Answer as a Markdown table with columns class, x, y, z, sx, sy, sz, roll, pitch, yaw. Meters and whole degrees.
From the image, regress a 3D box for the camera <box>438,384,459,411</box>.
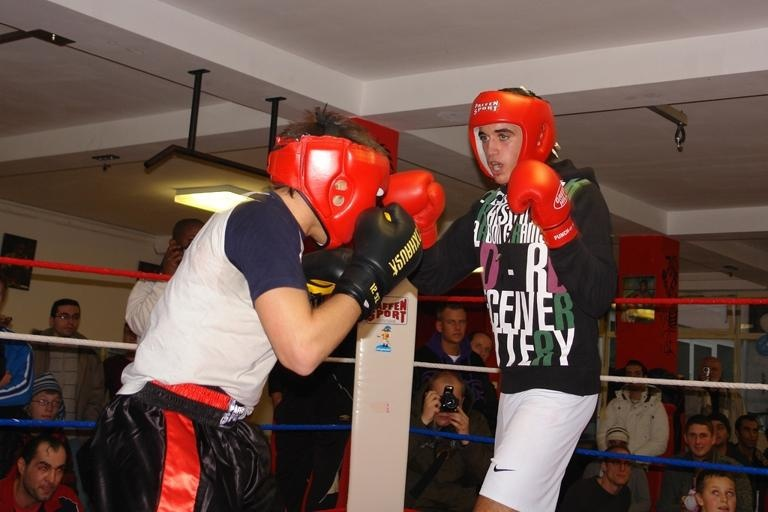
| class | x | y | z | sx | sy | sz | roll | pitch | yaw |
| --- | --- | --- | --- | --- | --- | --- | --- | --- | --- |
| camera | 0.366 | 0.843 | 3.572 | 0.138 | 0.129 | 0.129 | 8 | 17 | 2 |

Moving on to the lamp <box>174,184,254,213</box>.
| class | x | y | z | sx | sy | sz | roll | pitch | yaw |
| --- | --- | --- | --- | --- | --- | --- | --- | --- | --- |
| lamp | -1.695 | -0.597 | 6.054 | 0.743 | 0.162 | 0.691 | -2 | -4 | 35 |

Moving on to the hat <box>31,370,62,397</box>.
| class | x | y | z | sx | sy | sz | roll | pitch | yaw |
| --- | --- | --- | --- | --- | --- | --- | --- | --- | --- |
| hat | -2.471 | 0.937 | 4.464 | 0.205 | 0.166 | 0.279 | 10 | -14 | -27 |

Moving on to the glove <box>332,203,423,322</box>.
| class | x | y | z | sx | sy | sz | roll | pitch | yaw |
| --- | --- | --- | --- | --- | --- | --- | --- | --- | --- |
| glove | -0.015 | 0.011 | 2.065 | 0.153 | 0.411 | 0.315 | -4 | -12 | 43 |

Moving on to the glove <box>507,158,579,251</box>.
| class | x | y | z | sx | sy | sz | roll | pitch | yaw |
| --- | --- | --- | --- | --- | --- | --- | --- | --- | --- |
| glove | 0.587 | -0.168 | 2.252 | 0.157 | 0.252 | 0.327 | -4 | -52 | 45 |

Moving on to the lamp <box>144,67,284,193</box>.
| class | x | y | z | sx | sy | sz | roll | pitch | yaw |
| --- | --- | --- | --- | --- | --- | --- | --- | --- | --- |
| lamp | -1.178 | -0.989 | 4.725 | 0.974 | 0.585 | 0.332 | 9 | 12 | -35 |

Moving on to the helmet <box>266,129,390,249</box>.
| class | x | y | z | sx | sy | sz | roll | pitch | yaw |
| --- | --- | --- | --- | --- | --- | --- | --- | --- | --- |
| helmet | -0.245 | -0.222 | 2.148 | 0.388 | 0.337 | 0.378 | 7 | 0 | 14 |

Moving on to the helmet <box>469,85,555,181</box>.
| class | x | y | z | sx | sy | sz | roll | pitch | yaw |
| --- | --- | --- | --- | --- | --- | --- | --- | --- | --- |
| helmet | 0.541 | -0.530 | 2.585 | 0.377 | 0.331 | 0.318 | -1 | 6 | -16 |
